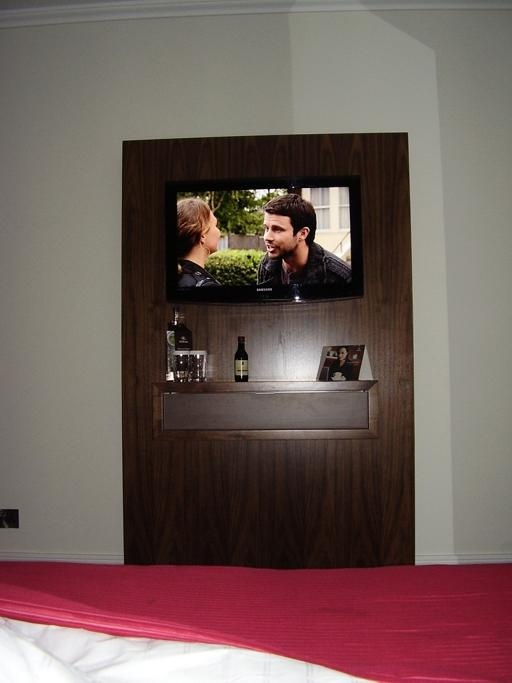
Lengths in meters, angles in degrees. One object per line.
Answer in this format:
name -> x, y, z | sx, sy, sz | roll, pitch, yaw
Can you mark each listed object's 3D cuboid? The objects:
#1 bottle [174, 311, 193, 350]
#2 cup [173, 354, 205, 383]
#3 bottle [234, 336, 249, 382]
bottle -> -0.315, -0.040, 2.755 | 0.084, 0.196, 0.171 | 5, -10, -5
cup -> -0.281, 0.106, 2.674 | 0.140, 0.148, 0.108 | 1, 1, 0
bottle -> -0.061, 0.081, 2.669 | 0.056, 0.198, 0.111 | 4, -10, -3
